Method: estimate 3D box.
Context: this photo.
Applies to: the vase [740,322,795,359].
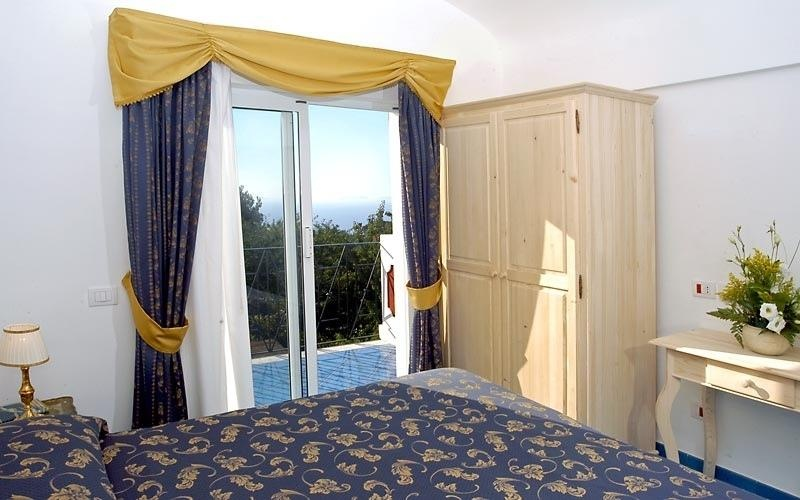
[{"bbox_3d":[2.347,0.574,3.627,0.224,0.121,0.209,-3,4,-13],"label":"vase"}]
